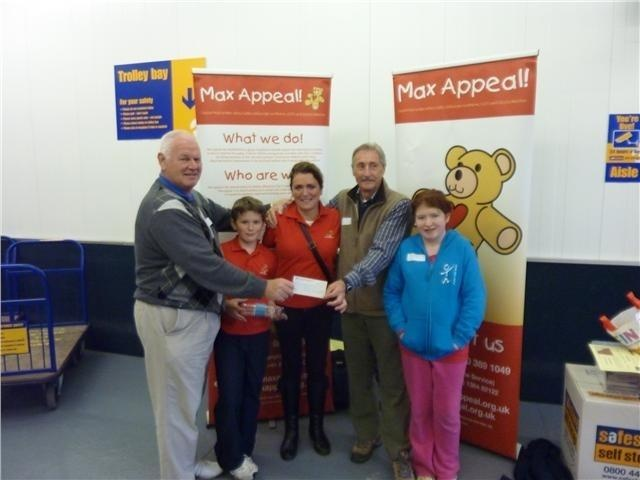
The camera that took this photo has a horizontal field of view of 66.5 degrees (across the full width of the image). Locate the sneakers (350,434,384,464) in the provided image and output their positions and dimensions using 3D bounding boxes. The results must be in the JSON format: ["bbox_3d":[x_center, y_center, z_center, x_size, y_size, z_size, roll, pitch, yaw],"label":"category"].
[{"bbox_3d":[0.380,1.686,3.935,0.106,0.132,0.259,-1,0,39],"label":"sneakers"}]

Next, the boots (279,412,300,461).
[{"bbox_3d":[-0.249,1.586,3.943,0.130,0.265,0.374,1,5,5],"label":"boots"}]

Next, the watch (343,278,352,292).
[{"bbox_3d":[0.197,0.323,3.544,0.057,0.098,0.083,-1,8,-6],"label":"watch"}]

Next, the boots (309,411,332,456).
[{"bbox_3d":[-0.014,1.586,3.948,0.122,0.276,0.363,-1,1,-10],"label":"boots"}]
